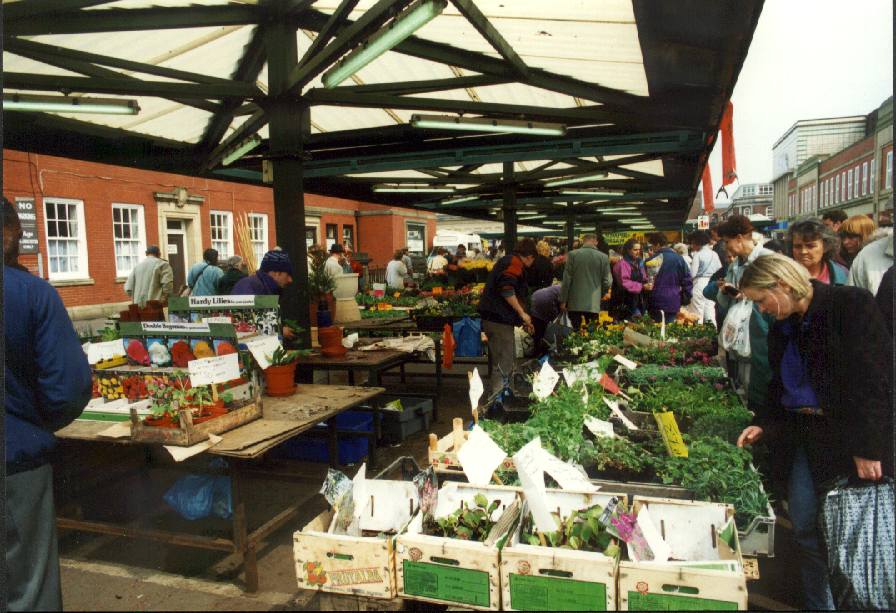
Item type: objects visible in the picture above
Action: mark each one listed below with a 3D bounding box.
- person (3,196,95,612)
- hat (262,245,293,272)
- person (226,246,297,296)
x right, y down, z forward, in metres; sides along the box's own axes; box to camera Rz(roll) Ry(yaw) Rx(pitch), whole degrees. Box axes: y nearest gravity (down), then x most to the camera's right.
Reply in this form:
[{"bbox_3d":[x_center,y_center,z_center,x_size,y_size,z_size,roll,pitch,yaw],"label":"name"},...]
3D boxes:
[{"bbox_3d":[-2.448,0.832,4.343,0.472,2.155,0.235,-1,5,-26],"label":"person"},{"bbox_3d":[-1.544,-0.441,6.458,0.205,0.196,0.253,4,-2,3],"label":"hat"},{"bbox_3d":[-1.711,-0.254,6.454,0.524,0.650,0.755,9,3,-23],"label":"person"}]
